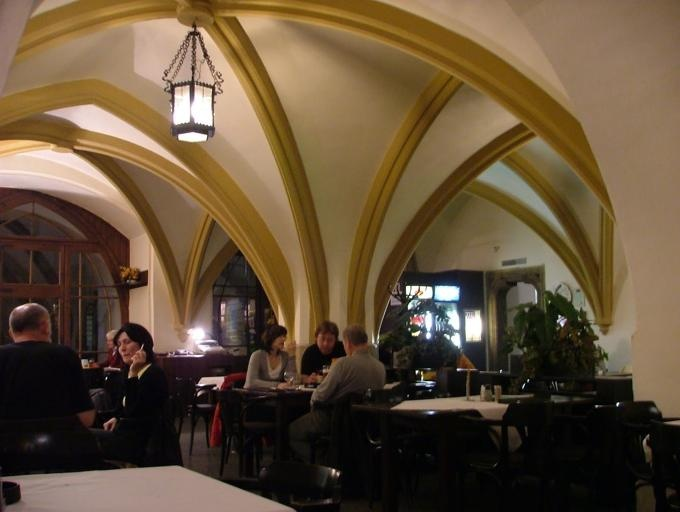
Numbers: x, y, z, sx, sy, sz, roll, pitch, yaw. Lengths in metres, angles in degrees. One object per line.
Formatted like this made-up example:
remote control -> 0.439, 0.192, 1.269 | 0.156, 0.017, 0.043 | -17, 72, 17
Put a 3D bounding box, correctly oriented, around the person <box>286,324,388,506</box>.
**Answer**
person -> -0.024, 1.429, 5.164 | 0.847, 1.635, 0.741 | -16, -41, 42
